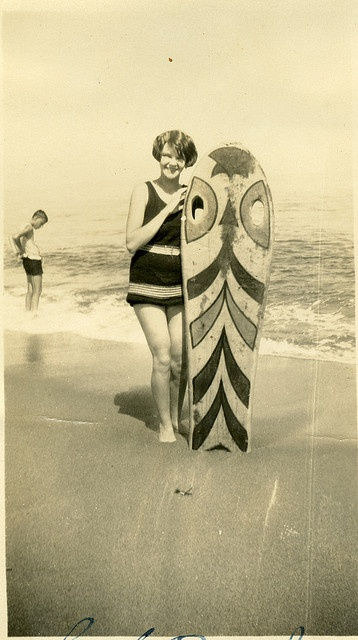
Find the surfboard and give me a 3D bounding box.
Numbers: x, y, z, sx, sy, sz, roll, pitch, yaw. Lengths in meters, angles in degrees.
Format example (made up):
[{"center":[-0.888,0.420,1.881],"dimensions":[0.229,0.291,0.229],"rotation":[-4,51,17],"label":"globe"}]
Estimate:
[{"center":[0.177,-0.089,2.622],"dimensions":[0.297,1.309,0.044],"rotation":[2,-23,5],"label":"surfboard"}]
